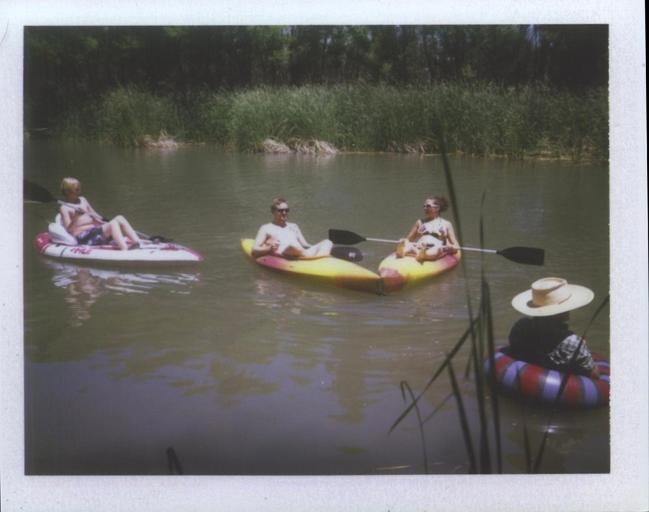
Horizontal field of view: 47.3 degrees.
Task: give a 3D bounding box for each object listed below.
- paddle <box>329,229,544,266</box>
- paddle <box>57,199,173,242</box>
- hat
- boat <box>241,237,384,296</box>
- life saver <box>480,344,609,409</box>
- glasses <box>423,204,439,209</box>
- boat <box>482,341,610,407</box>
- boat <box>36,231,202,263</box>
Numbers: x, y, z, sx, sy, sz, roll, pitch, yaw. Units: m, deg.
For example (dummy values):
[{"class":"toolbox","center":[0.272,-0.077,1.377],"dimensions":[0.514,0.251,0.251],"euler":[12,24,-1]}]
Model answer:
[{"class":"paddle","center":[0.766,-0.067,5.098],"dimensions":[1.449,0.280,0.089],"euler":[-1,7,6]},{"class":"paddle","center":[-1.485,-0.240,5.104],"dimensions":[0.638,0.099,0.044],"euler":[24,-4,-11]},{"class":"hat","center":[1.517,0.276,4.989],"dimensions":[0.336,0.101,0.337],"euler":[-26,21,-17]},{"class":"boat","center":[-0.087,-0.026,5.097],"dimensions":[1.027,0.195,0.324],"euler":[18,12,20]},{"class":"life saver","center":[1.576,0.889,5.141],"dimensions":[0.820,0.215,0.808],"euler":[14,-6,-40]},{"class":"glasses","center":[0.735,-0.349,5.125],"dimensions":[0.092,0.025,0.018],"euler":[-3,7,-11]},{"class":"boat","center":[1.497,0.858,5.136],"dimensions":[0.775,0.208,0.806],"euler":[11,-1,16]},{"class":"boat","center":[-1.402,-0.011,5.049],"dimensions":[1.094,0.198,0.380],"euler":[6,11,6]}]
